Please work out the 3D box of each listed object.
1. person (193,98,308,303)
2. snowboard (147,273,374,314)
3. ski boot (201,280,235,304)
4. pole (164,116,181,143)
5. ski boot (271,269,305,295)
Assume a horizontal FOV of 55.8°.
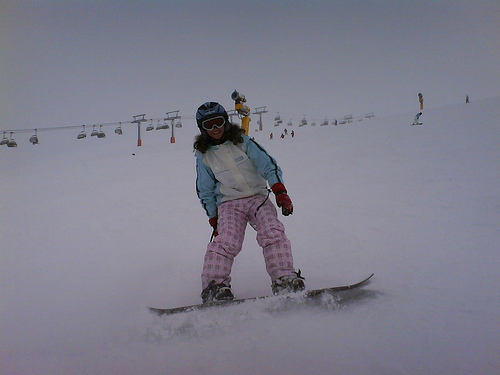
[{"bbox_3d":[-0.099,0.174,4.574,0.864,2.198,0.901,-11,-43,-3],"label":"person"},{"bbox_3d":[0.044,0.946,4.068,1.903,0.121,0.205,-4,-2,-1],"label":"snowboard"},{"bbox_3d":[-0.323,0.986,4.309,0.167,0.234,0.524,6,-22,-26],"label":"ski boot"},{"bbox_3d":[-1.436,-1.065,8.747,0.359,0.534,0.127,-1,-9,1],"label":"pole"},{"bbox_3d":[0.333,0.837,4.151,0.253,0.123,0.170,-18,-16,31],"label":"ski boot"}]
